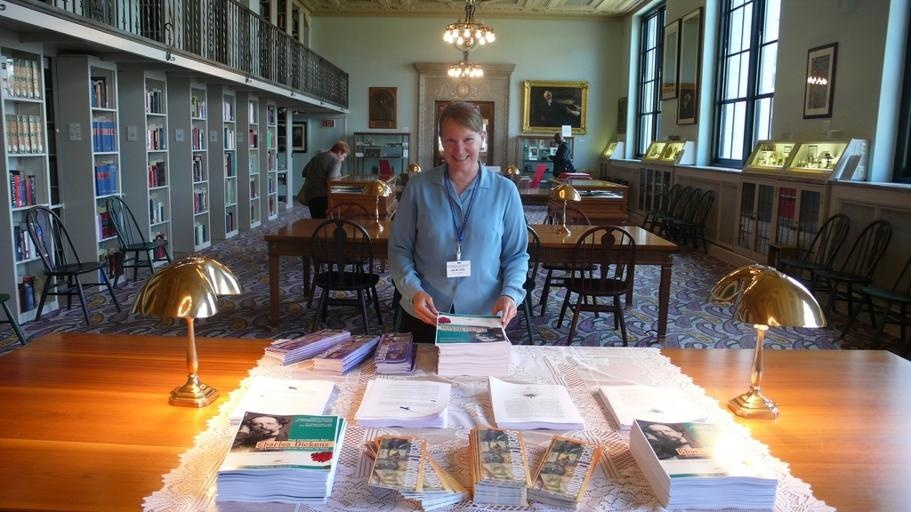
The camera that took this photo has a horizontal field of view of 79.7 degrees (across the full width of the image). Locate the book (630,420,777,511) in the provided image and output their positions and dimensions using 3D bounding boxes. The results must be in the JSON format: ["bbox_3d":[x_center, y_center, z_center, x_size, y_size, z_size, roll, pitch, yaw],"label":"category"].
[{"bbox_3d":[1.006,0.866,2.274,0.447,0.228,0.346,-3,13,-9],"label":"book"}]

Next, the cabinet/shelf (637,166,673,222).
[{"bbox_3d":[4.047,-1.369,11.933,1.370,1.153,0.464,0,5,-45],"label":"cabinet/shelf"}]

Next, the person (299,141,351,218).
[{"bbox_3d":[-2.245,-1.013,9.256,0.732,1.754,0.745,10,23,12],"label":"person"}]

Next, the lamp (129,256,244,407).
[{"bbox_3d":[-1.548,0.466,3.185,0.552,0.850,0.677,2,12,2],"label":"lamp"}]

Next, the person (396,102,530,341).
[{"bbox_3d":[0.005,-0.144,3.181,0.845,1.447,0.525,-1,14,0],"label":"person"}]

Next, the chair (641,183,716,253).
[{"bbox_3d":[3.913,-0.663,9.535,0.603,0.982,1.502,0,9,-10],"label":"chair"}]

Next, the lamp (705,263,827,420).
[{"bbox_3d":[1.427,0.399,2.596,0.421,0.690,0.281,-2,14,-6],"label":"lamp"}]

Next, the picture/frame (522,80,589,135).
[{"bbox_3d":[2.810,-4.233,15.583,1.814,1.507,0.328,2,14,9],"label":"picture/frame"}]

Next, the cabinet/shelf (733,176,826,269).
[{"bbox_3d":[4.638,-0.479,7.729,0.581,1.353,1.529,-8,17,-10],"label":"cabinet/shelf"}]
